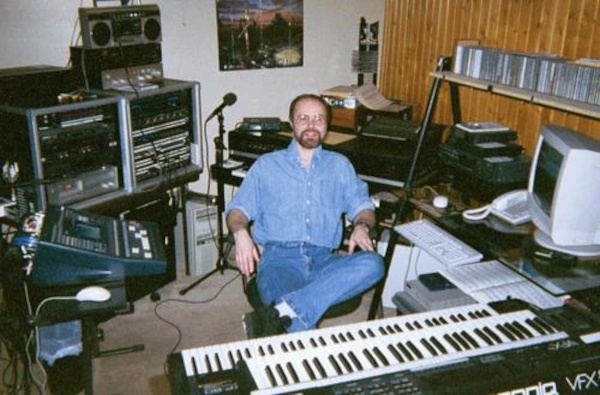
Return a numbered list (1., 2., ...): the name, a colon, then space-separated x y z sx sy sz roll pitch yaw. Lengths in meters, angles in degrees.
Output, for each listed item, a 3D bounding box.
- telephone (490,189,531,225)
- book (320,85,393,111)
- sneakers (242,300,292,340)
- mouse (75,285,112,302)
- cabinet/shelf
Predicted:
1. telephone: 1.383 0.061 3.073 0.251 0.100 0.299 -15 22 -7
2. book: 0.515 -0.958 4.535 0.472 0.159 0.363 16 30 34
3. sneakers: -0.174 0.760 2.759 0.298 0.114 0.227 -7 21 -14
4. mouse: -1.064 0.489 2.452 0.153 0.044 0.084 -7 60 -17
5. cabinet/shelf: -1.386 0.121 4.394 0.945 0.972 1.033 23 45 39
